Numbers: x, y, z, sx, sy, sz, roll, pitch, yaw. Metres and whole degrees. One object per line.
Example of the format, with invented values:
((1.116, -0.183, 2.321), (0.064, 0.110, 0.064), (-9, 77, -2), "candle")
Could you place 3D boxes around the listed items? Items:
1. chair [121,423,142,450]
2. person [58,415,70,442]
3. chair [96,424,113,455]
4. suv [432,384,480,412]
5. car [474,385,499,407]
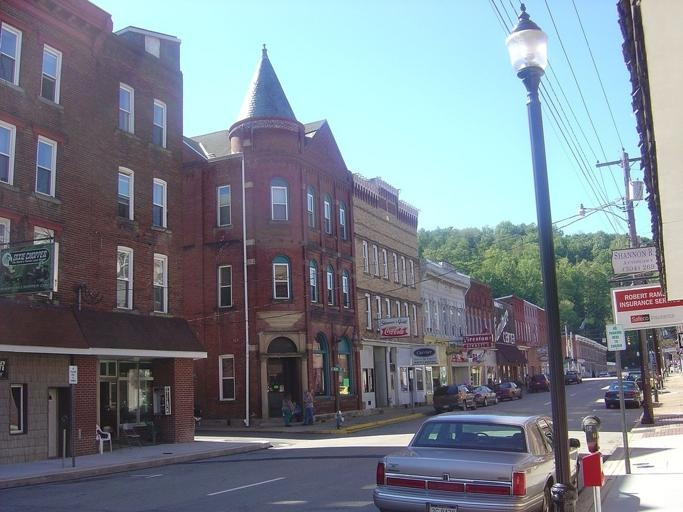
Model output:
((-8.768, 7.495, 28.742), (0.884, 1.387, 1.087), (8, -14, -43), "chair")
((-9.605, 6.010, 23.987), (0.270, 1.495, 0.188), (0, 18, -11), "person")
((-9.116, 7.039, 26.555), (0.541, 1.061, 2.013), (-1, -15, -19), "chair")
((7.346, 9.232, 44.609), (1.324, 1.225, 2.921), (-7, -21, 16), "suv")
((9.967, 9.867, 48.590), (1.114, 0.939, 2.711), (-4, -6, 26), "car")
